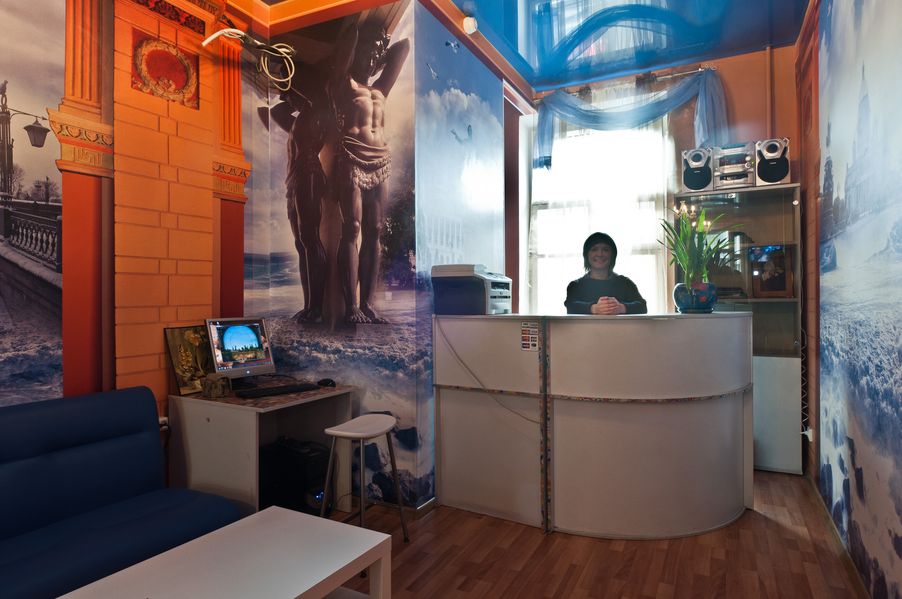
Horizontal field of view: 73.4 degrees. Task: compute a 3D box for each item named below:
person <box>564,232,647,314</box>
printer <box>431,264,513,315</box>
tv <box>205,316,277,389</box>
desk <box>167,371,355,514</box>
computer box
[{"bbox_3d":[1.373,-0.191,5.397,0.629,0.807,0.783,-2,-14,6],"label":"person"},{"bbox_3d":[0.165,-0.053,4.888,0.438,0.307,0.470,-1,-3,20],"label":"printer"},{"bbox_3d":[-1.663,0.428,4.717,0.192,0.474,0.482,-17,-13,33],"label":"tv"},{"bbox_3d":[-1.466,1.135,4.819,0.794,0.823,1.042,4,3,22],"label":"desk"},{"bbox_3d":[-1.198,1.399,4.876,0.528,0.804,0.426,-1,-4,28],"label":"computer box"}]
